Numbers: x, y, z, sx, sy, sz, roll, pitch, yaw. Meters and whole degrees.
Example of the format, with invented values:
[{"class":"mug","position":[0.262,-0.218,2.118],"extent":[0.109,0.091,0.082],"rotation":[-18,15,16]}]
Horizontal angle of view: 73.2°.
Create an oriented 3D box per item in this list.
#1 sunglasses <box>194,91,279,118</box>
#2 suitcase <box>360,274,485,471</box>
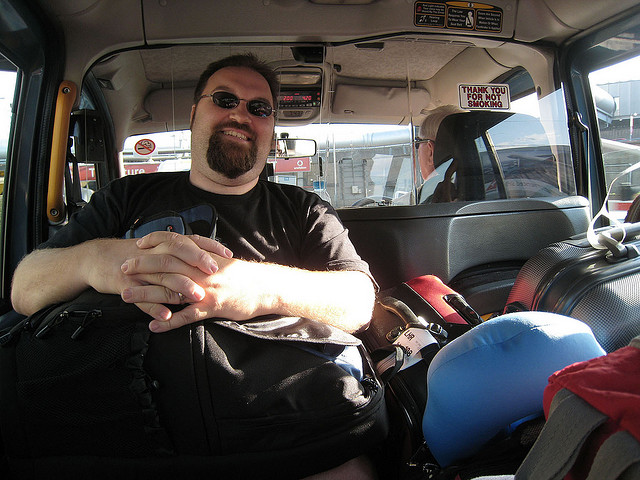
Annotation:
[{"class":"sunglasses","position":[-0.400,-0.640,2.064],"extent":[0.347,0.120,0.078],"rotation":[-2,5,-4]},{"class":"suitcase","position":[0.365,0.500,1.582],"extent":[0.383,0.313,0.580],"rotation":[-37,20,14]}]
